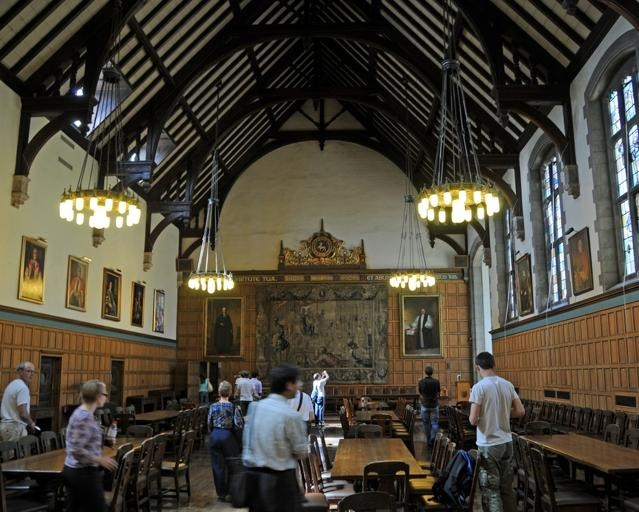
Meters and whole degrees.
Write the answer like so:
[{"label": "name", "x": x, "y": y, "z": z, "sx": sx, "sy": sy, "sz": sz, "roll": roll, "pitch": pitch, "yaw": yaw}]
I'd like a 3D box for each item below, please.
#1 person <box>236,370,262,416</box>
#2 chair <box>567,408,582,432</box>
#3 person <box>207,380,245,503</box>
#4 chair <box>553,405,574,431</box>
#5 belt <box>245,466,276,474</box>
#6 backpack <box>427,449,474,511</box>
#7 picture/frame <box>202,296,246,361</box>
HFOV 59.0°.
[{"label": "person", "x": -1.811, "y": 3.407, "z": 13.883, "sx": 0.405, "sy": 1.436, "sz": 0.382, "roll": -4, "pitch": 24, "yaw": -16}, {"label": "chair", "x": 5.477, "y": 3.502, "z": 12.057, "sx": 0.284, "sy": 0.524, "sz": 0.237, "roll": 20, "pitch": -23, "yaw": -32}, {"label": "person", "x": -1.571, "y": 3.120, "z": 9.517, "sx": 0.592, "sy": 1.968, "sz": 0.803, "roll": 6, "pitch": -13, "yaw": -34}, {"label": "chair", "x": 5.413, "y": 3.585, "z": 12.452, "sx": 0.300, "sy": 0.521, "sz": 0.264, "roll": 25, "pitch": -24, "yaw": -30}, {"label": "belt", "x": -0.573, "y": 2.042, "z": 5.391, "sx": 0.307, "sy": 0.064, "sz": 0.037, "roll": -7, "pitch": -13, "yaw": 20}, {"label": "backpack", "x": 1.640, "y": 2.725, "z": 6.852, "sx": 0.544, "sy": 0.728, "sz": 0.346, "roll": -6, "pitch": -12, "yaw": 20}, {"label": "picture/frame", "x": -3.811, "y": 2.974, "z": 22.301, "sx": 1.695, "sy": 3.445, "sz": 0.225, "roll": 0, "pitch": -6, "yaw": -2}]
